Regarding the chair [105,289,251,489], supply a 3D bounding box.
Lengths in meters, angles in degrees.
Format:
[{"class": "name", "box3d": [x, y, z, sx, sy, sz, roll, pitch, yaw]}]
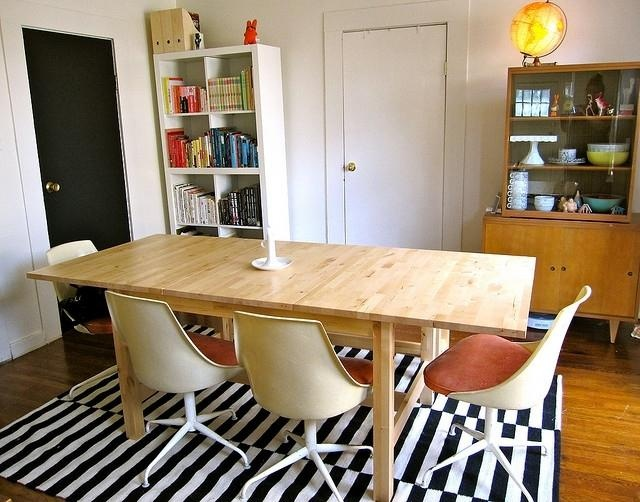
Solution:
[{"class": "chair", "box3d": [-0.685, 0.629, 2.670, 0.686, 0.948, 0.723, 3, 12, 15]}]

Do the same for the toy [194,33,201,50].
[{"class": "toy", "box3d": [-1.122, -1.945, 4.677, 0.079, 0.143, 0.073, -9, 15, -23]}]

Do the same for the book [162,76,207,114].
[{"class": "book", "box3d": [-1.227, -1.404, 4.863, 0.333, 0.457, 0.463, 3, 13, 15]}]

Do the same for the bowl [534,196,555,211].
[{"class": "bowl", "box3d": [1.695, -0.359, 3.841, 0.119, 0.095, 0.121, 1, 4, 0]}]

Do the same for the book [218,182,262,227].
[{"class": "book", "box3d": [-0.741, -0.427, 4.785, 0.396, 0.198, 0.407, 1, 14, 10]}]

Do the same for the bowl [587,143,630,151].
[{"class": "bowl", "box3d": [2.070, -0.748, 3.658, 0.260, 0.062, 0.032, 4, 16, 26]}]

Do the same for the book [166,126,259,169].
[{"class": "book", "box3d": [-0.979, -0.981, 4.780, 0.953, 0.371, 0.275, 3, 15, 22]}]

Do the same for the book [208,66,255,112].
[{"class": "book", "box3d": [-0.812, -1.458, 4.583, 0.425, 0.438, 0.246, 3, 18, 15]}]

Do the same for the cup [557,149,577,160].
[{"class": "cup", "box3d": [1.843, -0.726, 3.783, 0.089, 0.070, 0.095, -3, 19, 1]}]
